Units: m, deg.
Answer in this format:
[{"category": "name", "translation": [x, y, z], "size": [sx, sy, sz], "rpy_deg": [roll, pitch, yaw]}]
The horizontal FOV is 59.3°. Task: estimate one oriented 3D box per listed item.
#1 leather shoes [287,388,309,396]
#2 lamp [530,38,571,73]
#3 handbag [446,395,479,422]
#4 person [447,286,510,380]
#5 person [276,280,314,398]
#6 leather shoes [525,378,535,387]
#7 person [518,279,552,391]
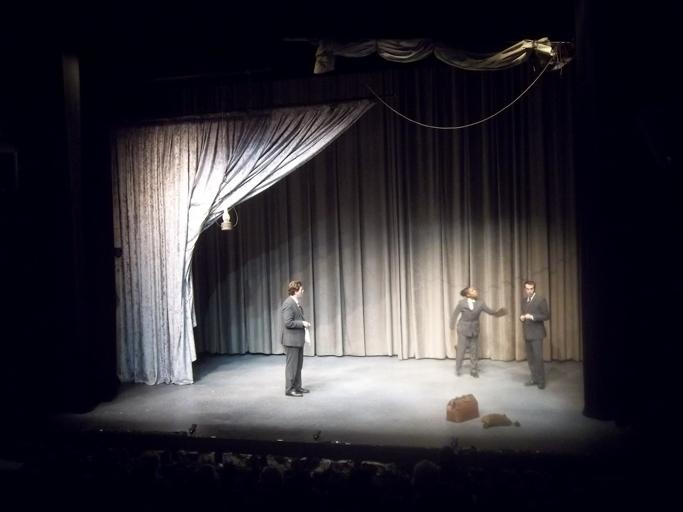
[{"category": "leather shoes", "translation": [-0.587, 1.744, 7.664], "size": [0.306, 0.133, 0.098], "rpy_deg": [-4, 0, 20]}, {"category": "lamp", "translation": [2.533, -2.476, 7.321], "size": [0.748, 0.309, 0.327], "rpy_deg": [-10, 12, -43]}, {"category": "handbag", "translation": [1.311, 1.663, 6.633], "size": [0.339, 0.233, 0.213], "rpy_deg": [-4, 1, -35]}, {"category": "person", "translation": [1.910, 1.004, 8.424], "size": [0.662, 1.254, 0.923], "rpy_deg": [1, 9, 21]}, {"category": "person", "translation": [-0.593, 1.051, 7.601], "size": [0.392, 1.453, 0.423], "rpy_deg": [-1, 8, 4]}, {"category": "leather shoes", "translation": [2.425, 1.624, 7.692], "size": [0.151, 0.115, 0.060], "rpy_deg": [2, 3, 31]}, {"category": "person", "translation": [2.416, 0.998, 7.537], "size": [0.305, 1.318, 0.382], "rpy_deg": [1, 9, 19]}]
